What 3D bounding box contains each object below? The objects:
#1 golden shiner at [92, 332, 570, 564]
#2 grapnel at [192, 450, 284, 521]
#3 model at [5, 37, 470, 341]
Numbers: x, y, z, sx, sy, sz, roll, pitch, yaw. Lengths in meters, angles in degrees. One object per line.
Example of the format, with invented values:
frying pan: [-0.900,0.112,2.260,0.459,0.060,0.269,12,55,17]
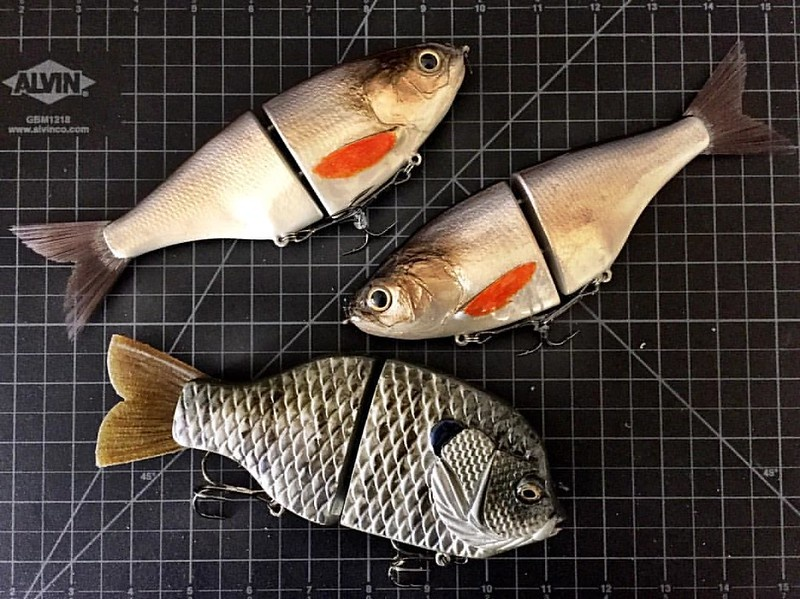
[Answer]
golden shiner: [-0.177,0.385,3.030,1.315,0.211,0.498,16,84,0]
grapnel: [-0.531,0.577,3.095,0.148,0.045,0.140,39,49,-29]
model: [-0.387,-0.350,3.098,1.456,0.254,0.469,-27,84,3]
